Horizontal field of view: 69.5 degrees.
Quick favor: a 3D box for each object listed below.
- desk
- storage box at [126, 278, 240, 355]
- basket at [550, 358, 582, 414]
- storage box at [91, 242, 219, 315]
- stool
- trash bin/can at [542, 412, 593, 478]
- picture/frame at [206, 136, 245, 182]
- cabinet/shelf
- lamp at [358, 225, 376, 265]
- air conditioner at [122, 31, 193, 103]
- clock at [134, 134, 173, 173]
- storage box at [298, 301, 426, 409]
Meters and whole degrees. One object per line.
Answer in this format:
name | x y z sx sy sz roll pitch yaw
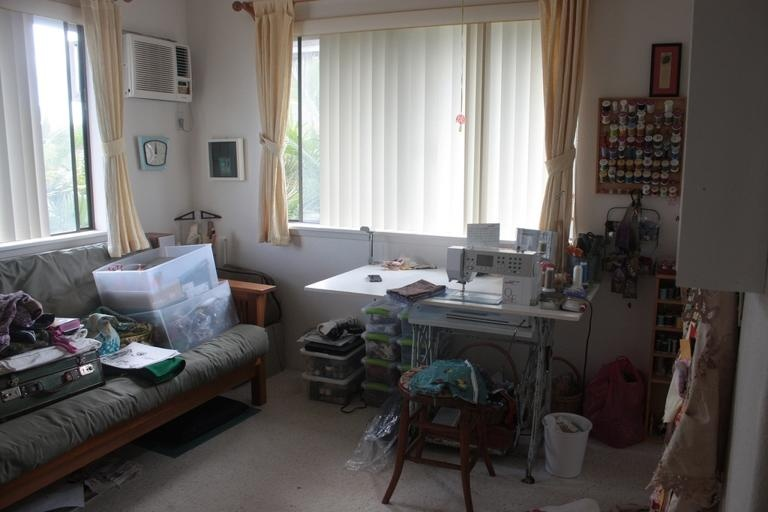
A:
desk | 0.495 0.301 4.116 2.337 1.558 1.228 3 6 27
storage box | -1.379 0.470 3.976 0.450 0.257 0.594 -1 22 42
basket | 1.334 0.957 4.042 0.271 0.391 0.387 -2 -6 31
storage box | -1.634 0.015 4.006 0.594 0.280 0.600 2 21 45
stool | 0.386 1.046 3.493 0.651 0.782 0.749 2 12 13
trash bin/can | 1.139 1.220 3.589 0.338 0.272 0.332 0 7 5
picture/frame | -1.400 -0.883 4.952 0.399 0.396 0.080 2 5 24
cabinet/shelf | 1.975 0.674 3.891 0.194 1.163 0.253 6 14 27
lamp | -0.129 -0.090 4.524 0.108 0.342 0.215 -1 12 -1
air conditioner | -1.922 -1.586 4.694 0.231 0.549 0.592 10 14 31
clock | -1.972 -0.892 4.753 0.100 0.298 0.296 4 13 21
storage box | -0.096 0.750 4.353 0.706 0.498 0.941 4 8 31
